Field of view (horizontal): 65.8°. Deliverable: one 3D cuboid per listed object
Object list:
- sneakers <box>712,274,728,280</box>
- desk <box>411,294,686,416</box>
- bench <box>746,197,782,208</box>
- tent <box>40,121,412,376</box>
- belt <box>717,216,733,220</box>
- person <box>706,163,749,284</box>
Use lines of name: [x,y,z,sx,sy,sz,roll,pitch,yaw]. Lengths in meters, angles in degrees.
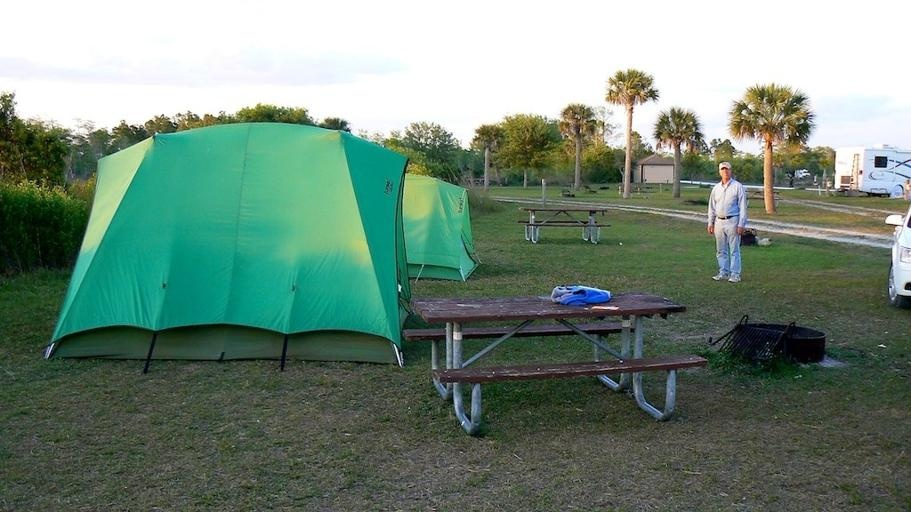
sneakers: [5.841,0.491,15.576,0.352,0.141,0.116,3,4,18]
desk: [1.280,1.161,9.745,3.592,0.873,1.461,-1,1,1]
bench: [16.719,-3.064,38.275,1.536,0.752,9.294,2,8,23]
tent: [-3.455,-0.164,11.969,4.565,2.659,4.379,1,7,1]
belt: [5.792,-0.794,15.149,0.255,0.083,0.052,4,9,31]
person: [6.042,-0.775,15.682,0.753,2.561,1.525,2,9,20]
